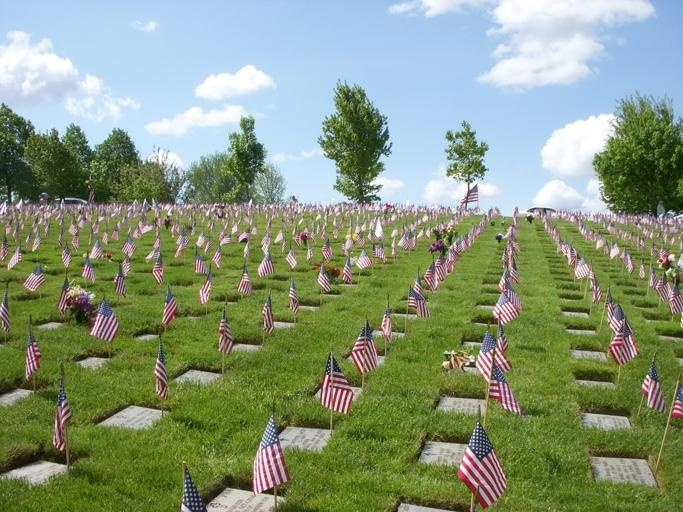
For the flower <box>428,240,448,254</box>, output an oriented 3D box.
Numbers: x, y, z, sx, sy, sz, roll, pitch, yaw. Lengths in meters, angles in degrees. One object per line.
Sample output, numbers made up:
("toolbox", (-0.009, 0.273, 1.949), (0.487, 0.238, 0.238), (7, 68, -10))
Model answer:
("flower", (3.411, -0.318, 22.016), (0.477, 0.311, 0.583), (2, 9, -3))
